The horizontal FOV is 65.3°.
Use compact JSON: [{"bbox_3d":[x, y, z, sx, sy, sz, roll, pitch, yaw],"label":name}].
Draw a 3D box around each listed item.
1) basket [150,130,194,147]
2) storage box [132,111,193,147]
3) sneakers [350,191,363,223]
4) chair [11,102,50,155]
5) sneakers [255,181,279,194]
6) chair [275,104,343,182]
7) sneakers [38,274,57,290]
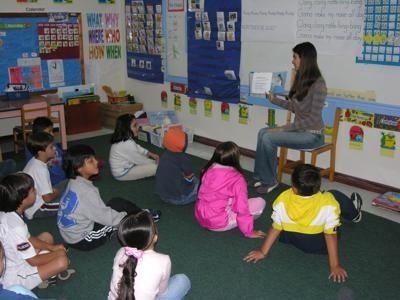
[{"bbox_3d":[-0.567,-0.223,5.118,0.376,0.142,0.382,16,25,33],"label":"basket"},{"bbox_3d":[-0.690,-0.423,5.201,0.585,0.412,0.869,-15,23,-38],"label":"storage box"},{"bbox_3d":[1.406,0.524,2.798,0.101,0.288,0.130,-8,7,41],"label":"sneakers"},{"bbox_3d":[-2.206,-0.308,4.056,0.439,0.787,0.498,-13,39,-31],"label":"chair"},{"bbox_3d":[0.785,0.434,3.630,0.281,0.115,0.102,-8,19,-33],"label":"sneakers"},{"bbox_3d":[1.278,-0.094,3.675,0.698,0.908,0.693,-2,15,3],"label":"chair"},{"bbox_3d":[-1.092,0.949,2.276,0.186,0.079,0.067,-3,21,-15],"label":"sneakers"}]
